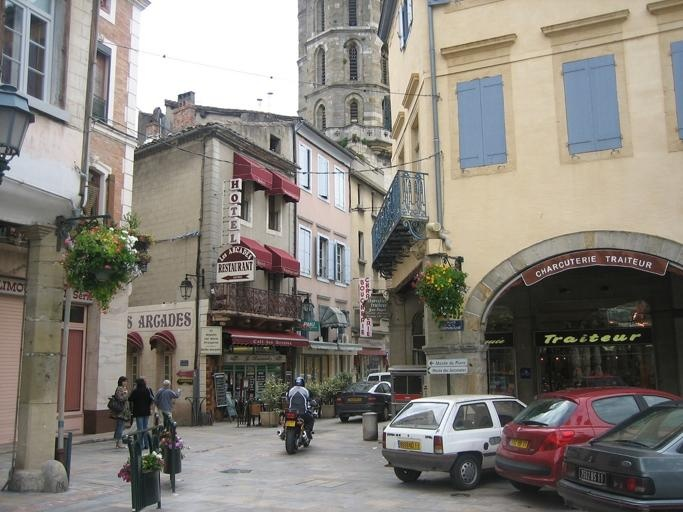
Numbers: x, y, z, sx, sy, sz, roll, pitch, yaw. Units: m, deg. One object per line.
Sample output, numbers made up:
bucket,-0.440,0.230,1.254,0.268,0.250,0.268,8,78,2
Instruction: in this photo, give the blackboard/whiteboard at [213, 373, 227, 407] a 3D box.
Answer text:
blackboard/whiteboard,-4.636,5.018,30.286,0.349,1.177,0.512,-16,-12,38

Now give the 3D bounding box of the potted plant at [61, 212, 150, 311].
potted plant,-5.374,0.079,17.750,1.589,1.878,1.732,-4,6,-32

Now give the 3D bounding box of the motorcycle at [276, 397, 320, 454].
motorcycle,-1.359,4.981,22.227,0.929,1.343,2.459,2,-25,0

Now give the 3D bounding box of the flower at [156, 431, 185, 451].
flower,-3.559,3.894,17.040,0.367,0.348,0.750,-8,-14,21

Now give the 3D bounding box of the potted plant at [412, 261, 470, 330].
potted plant,2.656,0.969,20.975,1.246,1.398,1.346,6,-13,-22

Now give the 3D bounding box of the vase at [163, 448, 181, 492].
vase,-3.588,4.480,16.859,0.354,0.900,0.415,-6,-13,11

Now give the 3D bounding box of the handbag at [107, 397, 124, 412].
handbag,-6.251,4.092,22.095,0.447,0.481,0.312,1,-10,-12

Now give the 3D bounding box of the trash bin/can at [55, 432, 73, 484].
trash bin/can,-6.100,4.247,17.254,0.486,0.846,0.515,1,-18,-16
